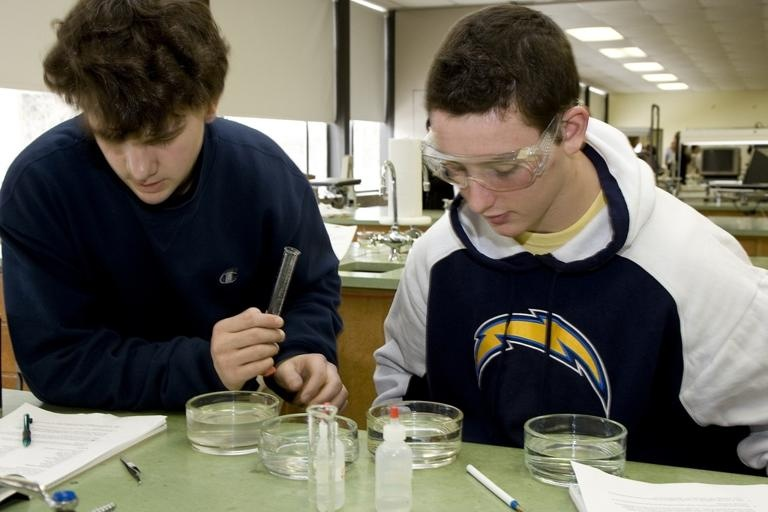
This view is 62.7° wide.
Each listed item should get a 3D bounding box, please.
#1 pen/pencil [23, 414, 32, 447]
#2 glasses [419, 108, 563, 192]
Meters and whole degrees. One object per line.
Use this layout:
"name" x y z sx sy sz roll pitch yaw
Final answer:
"pen/pencil" -0.820 0.402 1.447 0.014 0.019 0.052 -17 54 6
"glasses" 0.253 -0.236 1.505 0.315 0.165 0.133 1 16 14
